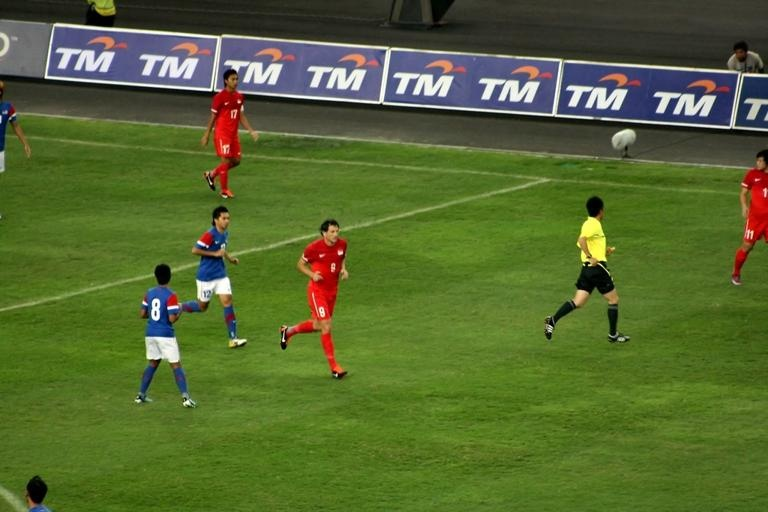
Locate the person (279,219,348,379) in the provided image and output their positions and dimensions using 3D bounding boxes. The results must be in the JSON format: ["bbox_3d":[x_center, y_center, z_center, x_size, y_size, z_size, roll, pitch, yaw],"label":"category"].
[{"bbox_3d":[-1.222,0.782,24.639,1.006,2.082,1.005,4,3,-27],"label":"person"}]

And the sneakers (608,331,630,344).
[{"bbox_3d":[4.669,1.625,25.625,0.524,0.201,0.156,-2,12,-2],"label":"sneakers"}]

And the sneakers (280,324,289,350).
[{"bbox_3d":[-1.914,1.587,25.067,0.235,0.439,0.167,3,7,-12],"label":"sneakers"}]

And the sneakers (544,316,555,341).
[{"bbox_3d":[3.260,1.427,25.676,0.192,0.446,0.240,-6,22,-28],"label":"sneakers"}]

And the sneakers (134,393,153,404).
[{"bbox_3d":[-4.421,2.622,23.910,0.135,0.144,0.389,6,5,31],"label":"sneakers"}]

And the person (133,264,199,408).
[{"bbox_3d":[-3.980,1.443,23.843,0.984,2.601,0.969,5,2,-10],"label":"person"}]

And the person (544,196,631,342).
[{"bbox_3d":[4.140,0.266,25.587,1.589,2.282,0.782,5,2,8],"label":"person"}]

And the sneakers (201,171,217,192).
[{"bbox_3d":[-4.332,-1.852,32.325,0.216,0.559,0.256,-28,22,20],"label":"sneakers"}]

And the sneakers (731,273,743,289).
[{"bbox_3d":[7.560,0.522,27.613,0.146,0.145,0.360,-1,6,-2],"label":"sneakers"}]

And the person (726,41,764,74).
[{"bbox_3d":[9.902,-5.493,35.459,0.838,0.760,1.320,5,3,29],"label":"person"}]
